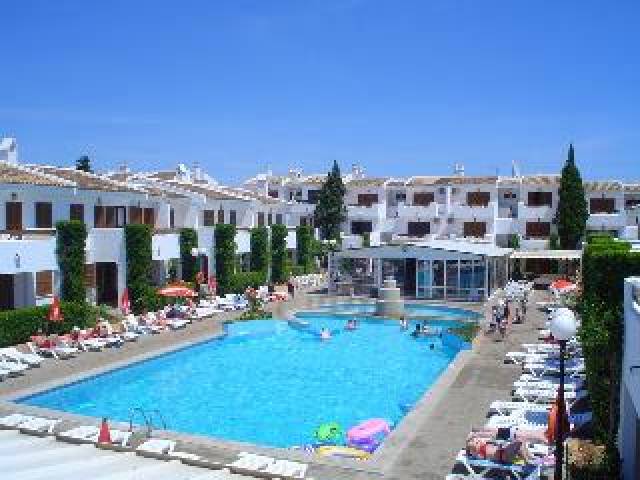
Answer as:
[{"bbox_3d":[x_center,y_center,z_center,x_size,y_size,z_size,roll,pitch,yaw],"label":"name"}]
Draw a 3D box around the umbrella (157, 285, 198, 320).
[{"bbox_3d":[-8.569,3.769,35.392,2.112,1.835,2.085,2,6,17],"label":"umbrella"}]
